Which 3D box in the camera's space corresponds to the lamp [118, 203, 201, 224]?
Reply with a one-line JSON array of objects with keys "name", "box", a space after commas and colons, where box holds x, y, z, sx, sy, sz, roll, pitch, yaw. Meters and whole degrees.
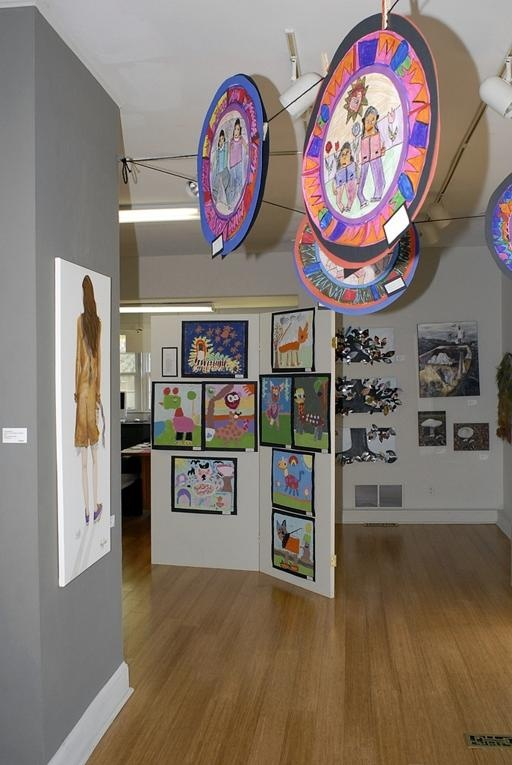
[{"name": "lamp", "box": [-0.804, -1.426, 4.595, 0.601, 0.059, 0.130, 6, -41, 15]}]

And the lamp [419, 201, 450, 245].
[{"name": "lamp", "box": [1.432, -1.413, 4.588, 0.143, 0.372, 0.542, 25, 6, 14]}]

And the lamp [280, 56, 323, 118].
[{"name": "lamp", "box": [0.176, -1.219, 2.323, 0.159, 0.212, 0.190, 0, 0, 3]}]

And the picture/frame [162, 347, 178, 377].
[{"name": "picture/frame", "box": [-0.770, -0.194, 5.003, 0.163, 0.472, 0.016, 0, 0, 20]}]

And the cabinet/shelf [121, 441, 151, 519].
[{"name": "cabinet/shelf", "box": [-1.478, 1.245, 6.880, 0.480, 1.084, 0.871, 1, -1, -20]}]
